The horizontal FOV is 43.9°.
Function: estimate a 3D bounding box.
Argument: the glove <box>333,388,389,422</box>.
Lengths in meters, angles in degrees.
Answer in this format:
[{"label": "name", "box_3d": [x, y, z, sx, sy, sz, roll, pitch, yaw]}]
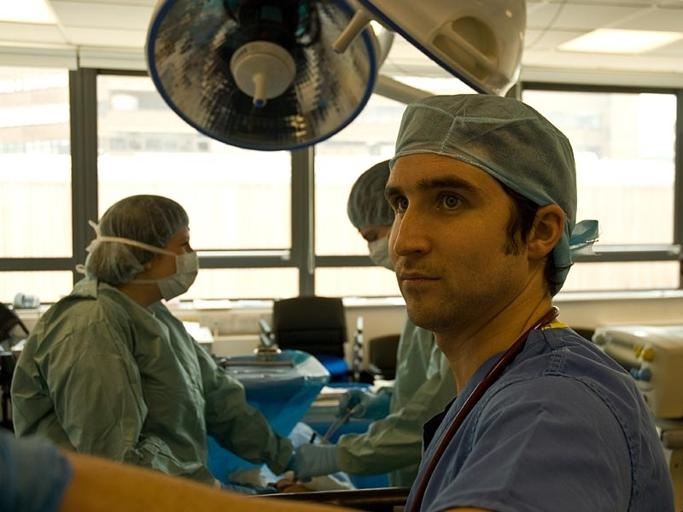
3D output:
[{"label": "glove", "box_3d": [0.062, 0.580, 3.412, 0.208, 0.139, 0.153, -2, 6, -43]}]

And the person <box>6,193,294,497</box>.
[{"label": "person", "box_3d": [-0.660, 0.280, 3.393, 1.017, 1.332, 0.884, -4, -1, -7]}]

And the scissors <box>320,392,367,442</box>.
[{"label": "scissors", "box_3d": [0.007, 0.630, 3.356, 0.160, 0.174, 0.060, 23, -22, -11]}]

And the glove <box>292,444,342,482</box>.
[{"label": "glove", "box_3d": [-0.095, 0.731, 3.035, 0.159, 0.109, 0.066, -10, -20, 31]}]

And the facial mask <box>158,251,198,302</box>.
[{"label": "facial mask", "box_3d": [-0.615, 0.079, 3.209, 0.136, 0.175, 0.099, 1, 8, -18]}]
